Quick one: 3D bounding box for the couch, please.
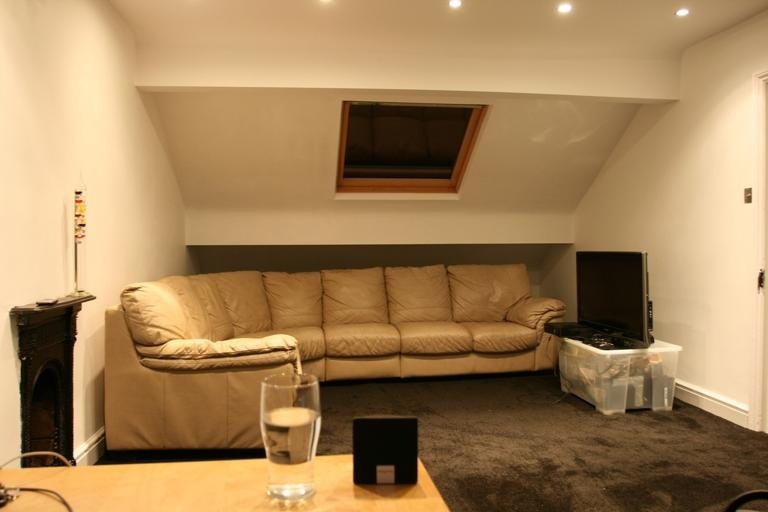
[{"bbox_3d":[-0.506,0.591,5.075,3.712,1.267,1.678,-9,16,-33],"label":"couch"}]

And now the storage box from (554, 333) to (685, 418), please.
[{"bbox_3d":[1.882,0.972,4.878,0.556,0.413,0.832,1,-1,-15],"label":"storage box"}]

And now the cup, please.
[{"bbox_3d":[-0.380,0.723,2.379,0.229,0.481,0.217,-1,14,0],"label":"cup"}]
